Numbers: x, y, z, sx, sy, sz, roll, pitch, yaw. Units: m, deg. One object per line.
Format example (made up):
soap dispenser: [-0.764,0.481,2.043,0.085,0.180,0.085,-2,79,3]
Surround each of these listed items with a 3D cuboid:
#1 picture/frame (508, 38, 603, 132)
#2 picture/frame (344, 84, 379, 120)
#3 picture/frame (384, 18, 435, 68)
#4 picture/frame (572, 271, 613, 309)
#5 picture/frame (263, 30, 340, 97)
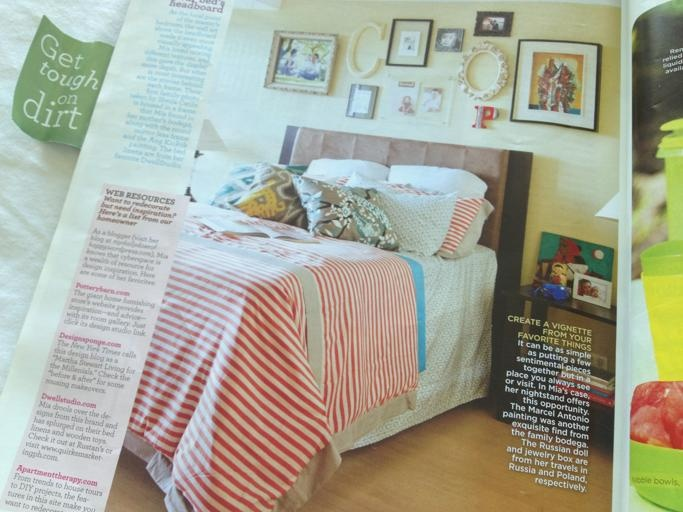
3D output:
picture/frame: [0.623,-0.493,1.625,0.261,0.248,0.028,5,-3,-7]
picture/frame: [0.052,-0.460,1.644,0.089,0.102,0.010,11,3,5]
picture/frame: [0.200,-0.637,1.644,0.125,0.143,0.006,12,7,12]
picture/frame: [0.702,0.100,1.555,0.090,0.066,0.003,17,-5,-8]
picture/frame: [-0.118,-0.573,1.661,0.192,0.165,0.020,9,-5,13]
